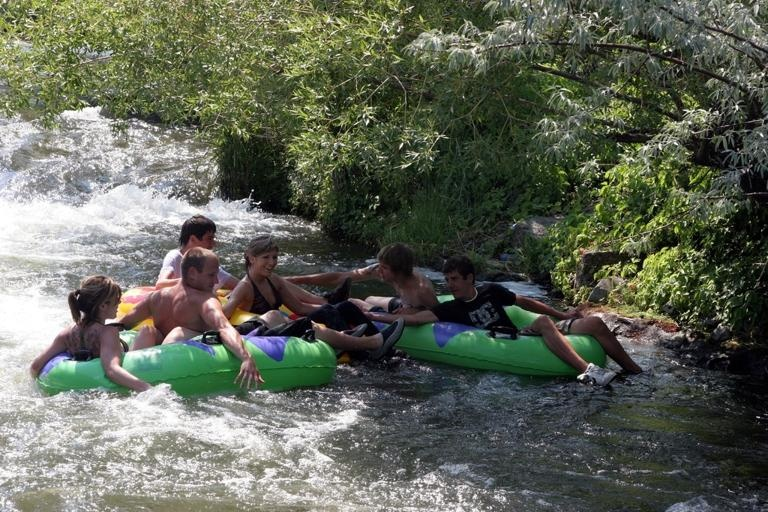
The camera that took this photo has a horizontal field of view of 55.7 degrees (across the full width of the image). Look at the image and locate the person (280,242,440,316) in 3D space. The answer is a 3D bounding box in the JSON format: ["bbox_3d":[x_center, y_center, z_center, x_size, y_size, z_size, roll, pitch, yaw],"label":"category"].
[{"bbox_3d":[-0.202,0.307,9.066,1.710,0.701,0.920,0,0,1],"label":"person"}]

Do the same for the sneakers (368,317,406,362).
[{"bbox_3d":[0.093,1.005,8.424,0.233,0.625,0.278,7,-35,50],"label":"sneakers"}]

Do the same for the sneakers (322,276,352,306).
[{"bbox_3d":[-0.561,0.479,8.984,0.214,0.482,0.175,25,-5,20],"label":"sneakers"}]

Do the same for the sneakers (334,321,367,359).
[{"bbox_3d":[-0.366,0.996,8.414,0.267,0.558,0.179,23,-38,-5],"label":"sneakers"}]

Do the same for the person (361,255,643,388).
[{"bbox_3d":[1.678,0.765,8.488,2.375,0.801,1.539,5,4,29],"label":"person"}]

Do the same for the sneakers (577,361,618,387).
[{"bbox_3d":[2.352,1.305,7.971,0.432,0.185,0.188,-9,20,28],"label":"sneakers"}]

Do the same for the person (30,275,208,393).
[{"bbox_3d":[-2.887,0.786,7.501,1.378,1.032,1.268,-14,18,-43],"label":"person"}]

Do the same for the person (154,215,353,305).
[{"bbox_3d":[-1.765,0.166,8.922,1.952,1.134,1.185,0,6,4],"label":"person"}]

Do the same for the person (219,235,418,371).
[{"bbox_3d":[-0.800,0.554,8.365,2.265,1.083,1.182,6,8,24],"label":"person"}]
